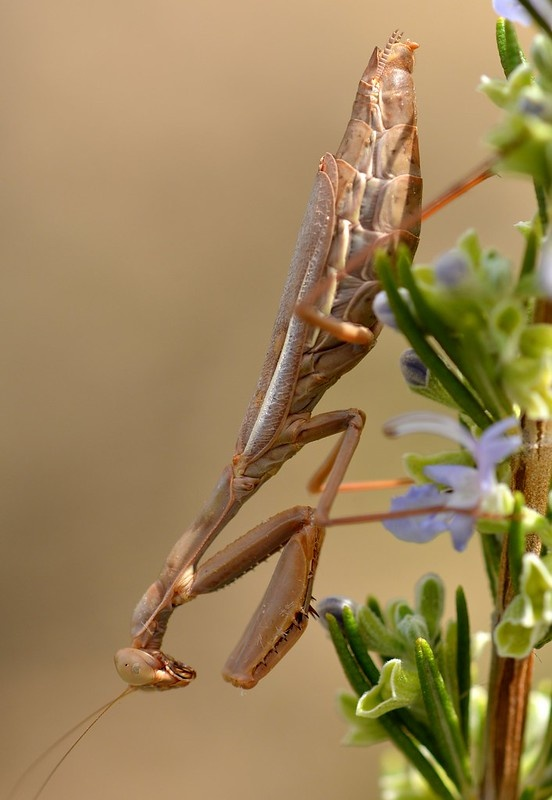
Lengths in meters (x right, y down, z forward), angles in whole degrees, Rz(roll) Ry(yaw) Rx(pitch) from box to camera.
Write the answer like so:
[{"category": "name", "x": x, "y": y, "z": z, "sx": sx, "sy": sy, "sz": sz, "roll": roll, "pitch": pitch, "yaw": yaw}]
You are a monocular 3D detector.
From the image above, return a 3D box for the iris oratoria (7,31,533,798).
[{"category": "iris oratoria", "x": -0.060, "y": -0.004, "z": 0.758, "sx": 0.400, "sy": 0.293, "sz": 0.543, "roll": -7, "pitch": -62, "yaw": -54}]
